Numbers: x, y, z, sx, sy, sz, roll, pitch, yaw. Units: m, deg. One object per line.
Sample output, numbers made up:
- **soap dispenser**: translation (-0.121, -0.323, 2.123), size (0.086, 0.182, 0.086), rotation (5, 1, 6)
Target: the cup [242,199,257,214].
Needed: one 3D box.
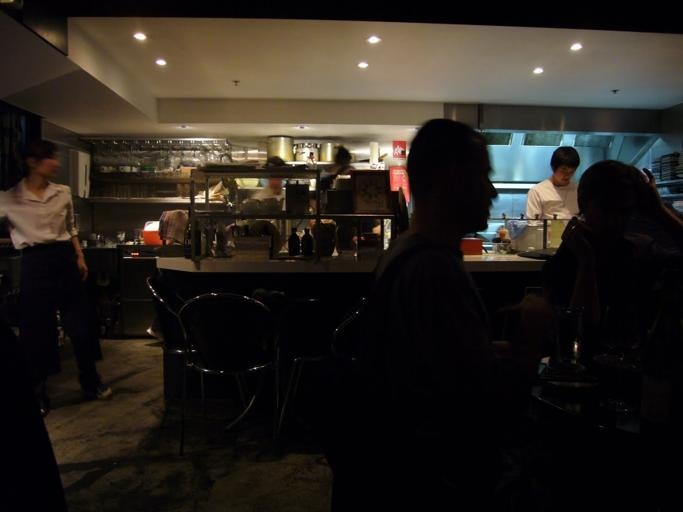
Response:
- **cup**: translation (-0.664, -0.349, 4.099), size (0.102, 0.070, 0.100), rotation (-1, 3, 0)

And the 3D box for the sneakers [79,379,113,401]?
- **sneakers**: translation (-1.863, 1.023, 4.344), size (0.286, 0.126, 0.105), rotation (0, 3, -8)

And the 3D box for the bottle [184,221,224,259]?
- **bottle**: translation (-1.000, -0.113, 4.113), size (0.264, 0.248, 0.260), rotation (2, 6, 7)
